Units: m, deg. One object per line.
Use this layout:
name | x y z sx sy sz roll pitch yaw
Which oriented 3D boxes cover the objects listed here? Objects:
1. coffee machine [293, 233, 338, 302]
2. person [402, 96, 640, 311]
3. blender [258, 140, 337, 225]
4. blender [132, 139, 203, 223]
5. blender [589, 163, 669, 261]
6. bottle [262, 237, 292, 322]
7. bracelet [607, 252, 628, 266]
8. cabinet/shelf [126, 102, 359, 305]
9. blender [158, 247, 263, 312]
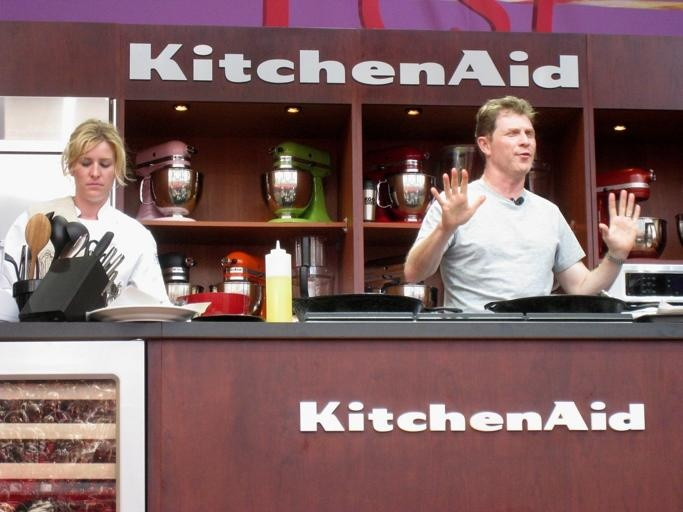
coffee machine | -0.112 0.039 4.913 0.155 0.263 0.265 -1 -2 9
person | 0.642 -0.188 4.410 0.735 1.085 0.373 5 -12 -18
blender | -0.188 -0.298 5.109 0.212 0.343 0.331 -6 -8 43
blender | -0.706 -0.294 5.007 0.326 0.333 0.205 -8 -9 39
blender | 1.200 -0.180 5.122 0.241 0.365 0.363 -8 1 -37
bottle | -0.182 0.078 3.530 0.070 0.208 0.064 -1 0 0
bracelet | 0.857 0.004 3.832 0.044 0.018 0.045 16 -12 40
cabinet/shelf | -0.399 -0.202 4.860 0.782 0.671 0.256 0 -9 -7
blender | -0.530 0.098 4.740 0.199 0.246 0.471 -1 -6 9
